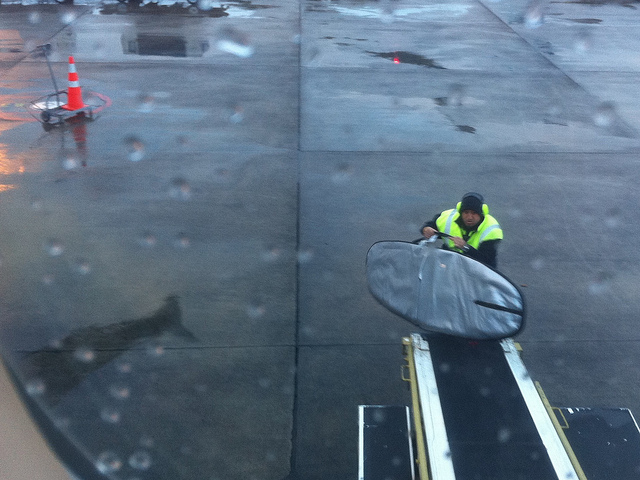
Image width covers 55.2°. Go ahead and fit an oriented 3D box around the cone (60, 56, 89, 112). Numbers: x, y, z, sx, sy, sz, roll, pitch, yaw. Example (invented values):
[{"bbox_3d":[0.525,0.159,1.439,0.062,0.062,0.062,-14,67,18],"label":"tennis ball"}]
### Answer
[{"bbox_3d":[-3.916,-2.437,9.478,0.406,0.875,0.827,-13,45,-17],"label":"cone"}]
